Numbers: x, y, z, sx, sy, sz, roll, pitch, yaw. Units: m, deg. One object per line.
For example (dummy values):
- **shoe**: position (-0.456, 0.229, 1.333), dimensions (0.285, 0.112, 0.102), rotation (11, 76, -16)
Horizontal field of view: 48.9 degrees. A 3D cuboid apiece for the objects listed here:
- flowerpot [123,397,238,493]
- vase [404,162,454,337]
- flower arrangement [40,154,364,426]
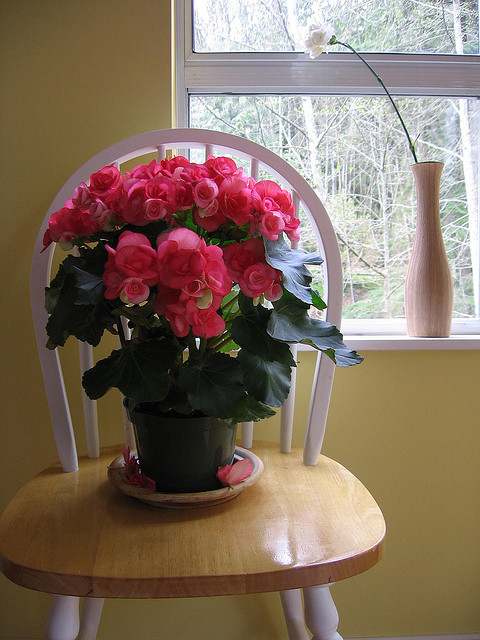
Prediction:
- **flowerpot**: position (-0.081, 0.139, 0.674), dimensions (0.133, 0.080, 0.126), rotation (-2, -2, 43)
- **vase**: position (0.402, -0.145, 1.118), dimensions (0.085, 0.368, 0.079), rotation (-3, 10, -17)
- **flower arrangement**: position (-0.056, -0.037, 0.648), dimensions (0.348, 0.323, 0.224), rotation (-3, 10, -20)
